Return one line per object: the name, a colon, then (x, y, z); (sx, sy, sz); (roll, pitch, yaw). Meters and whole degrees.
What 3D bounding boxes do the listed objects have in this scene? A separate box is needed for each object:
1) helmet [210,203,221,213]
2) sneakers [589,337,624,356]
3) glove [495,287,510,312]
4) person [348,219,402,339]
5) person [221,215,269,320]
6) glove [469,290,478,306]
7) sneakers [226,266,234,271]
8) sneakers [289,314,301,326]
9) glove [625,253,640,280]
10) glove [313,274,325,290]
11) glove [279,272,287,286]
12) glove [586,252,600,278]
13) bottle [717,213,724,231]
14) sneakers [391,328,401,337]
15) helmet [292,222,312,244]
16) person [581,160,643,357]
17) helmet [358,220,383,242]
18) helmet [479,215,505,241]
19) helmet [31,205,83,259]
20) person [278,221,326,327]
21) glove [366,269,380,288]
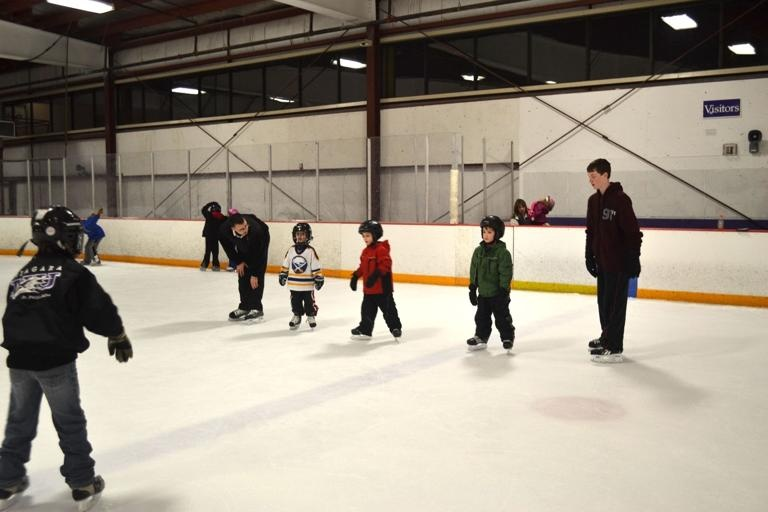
helmet: (-3.340, -0.953, 12.610); (0.188, 0.167, 0.276); (-4, 14, -16)
sneakers: (2.534, 1.022, 7.301); (0.429, 0.205, 0.164); (3, 5, 29)
glove: (1.446, 0.494, 7.609); (0.188, 0.322, 0.207); (2, 7, 27)
person: (-0.111, 0.322, 8.061); (0.653, 1.517, 0.587); (-1, 13, 0)
person: (-1.938, 0.135, 9.195); (0.573, 1.689, 0.601); (14, 25, 33)
glove: (1.049, 0.489, 7.520); (0.099, 0.231, 0.287); (1, 13, 7)
sneakers: (-3.462, 0.282, 14.349); (0.170, 0.119, 0.096); (-4, -1, 15)
sneakers: (-1.206, 0.874, 8.783); (0.090, 0.114, 0.254); (4, 14, 15)
glove: (2.776, 0.103, 7.120); (0.123, 0.298, 0.209); (10, 17, 40)
glove: (-0.847, 0.337, 8.369); (0.175, 0.194, 0.208); (0, -9, 7)
glove: (-1.354, 0.296, 8.415); (0.146, 0.169, 0.186); (-3, -3, 5)
glove: (2.385, 0.115, 7.354); (0.088, 0.222, 0.223); (-8, 9, 17)
bottle: (5.555, -0.555, 10.574); (0.108, 0.224, 0.406); (6, 15, 27)
sneakers: (0.158, 0.963, 8.134); (0.084, 0.103, 0.118); (2, -13, -26)
helmet: (-1.083, -0.307, 8.461); (0.216, 0.321, 0.418); (-2, 13, -5)
person: (2.486, 0.046, 7.138); (0.626, 2.187, 0.394); (9, 16, 37)
helmet: (-0.158, -0.333, 8.068); (0.247, 0.243, 0.417); (1, 13, 5)
helmet: (1.288, -0.336, 7.592); (0.249, 0.294, 0.334); (3, 13, 15)
helmet: (-2.393, -0.187, 4.697); (0.393, 0.431, 0.355); (2, 4, -12)
person: (-1.109, 0.276, 8.484); (0.529, 1.466, 0.347); (-2, 13, -9)
glove: (-0.143, 0.275, 7.904); (0.134, 0.226, 0.061); (41, 7, 30)
